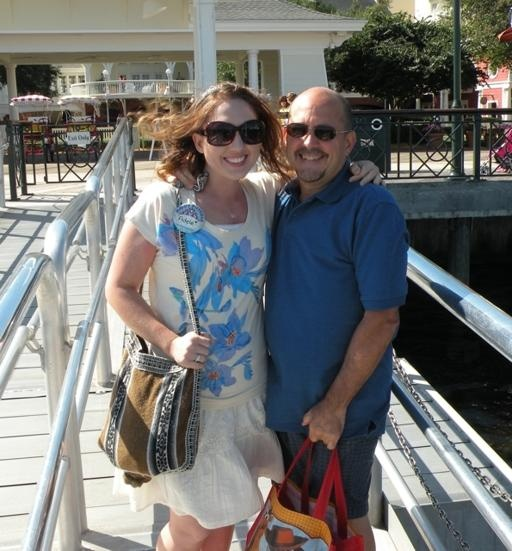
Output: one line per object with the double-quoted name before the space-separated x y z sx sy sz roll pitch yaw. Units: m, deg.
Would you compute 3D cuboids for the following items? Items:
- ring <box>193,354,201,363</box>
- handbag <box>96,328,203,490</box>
"ring" -0.148 0.213 1.333 0.018 0.022 0.012 -6 15 -21
"handbag" -0.276 0.346 1.403 0.263 0.338 0.173 4 15 18
